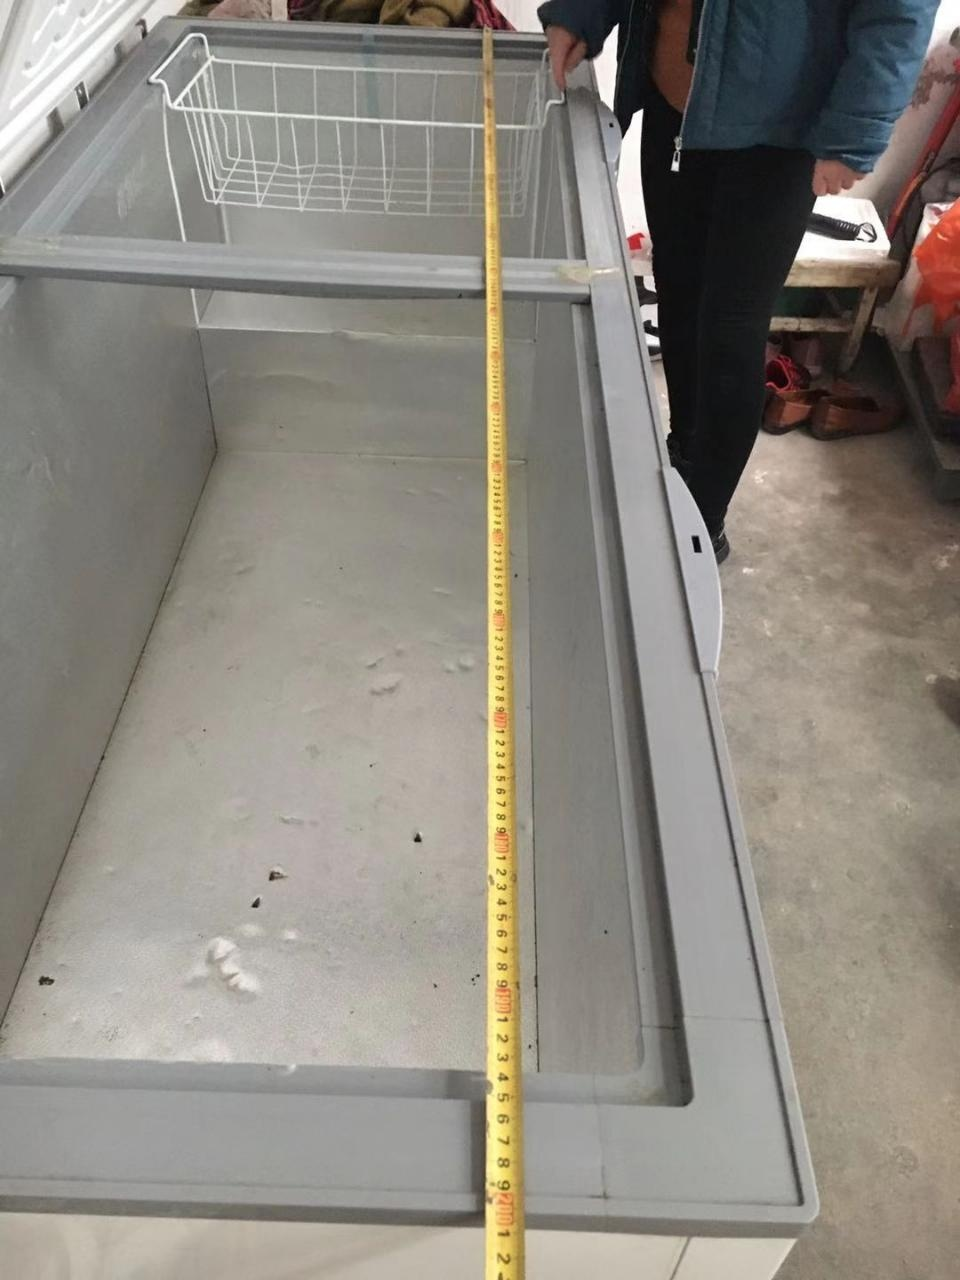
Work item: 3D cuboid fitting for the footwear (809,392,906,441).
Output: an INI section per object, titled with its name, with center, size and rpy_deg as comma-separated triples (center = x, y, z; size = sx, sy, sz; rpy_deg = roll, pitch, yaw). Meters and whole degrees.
[footwear]
center = 0.965, -0.602, 2.619
size = 0.190, 0.080, 0.114
rpy_deg = -14, 51, -6
